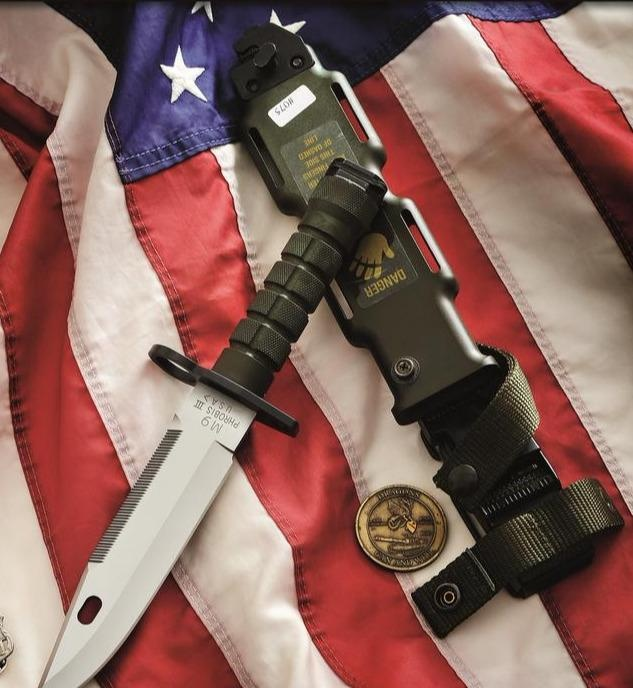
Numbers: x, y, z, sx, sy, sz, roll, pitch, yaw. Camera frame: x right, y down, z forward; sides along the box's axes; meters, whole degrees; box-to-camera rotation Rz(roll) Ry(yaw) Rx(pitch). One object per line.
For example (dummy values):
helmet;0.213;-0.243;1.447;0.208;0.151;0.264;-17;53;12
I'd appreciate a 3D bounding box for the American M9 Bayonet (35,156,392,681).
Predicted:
American M9 Bayonet;-0.088;0.038;0.876;0.202;0.087;0.742;29;71;12

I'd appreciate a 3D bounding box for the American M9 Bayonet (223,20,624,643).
American M9 Bayonet;0.104;-0.029;1.021;0.330;0.115;0.860;-29;74;-1
